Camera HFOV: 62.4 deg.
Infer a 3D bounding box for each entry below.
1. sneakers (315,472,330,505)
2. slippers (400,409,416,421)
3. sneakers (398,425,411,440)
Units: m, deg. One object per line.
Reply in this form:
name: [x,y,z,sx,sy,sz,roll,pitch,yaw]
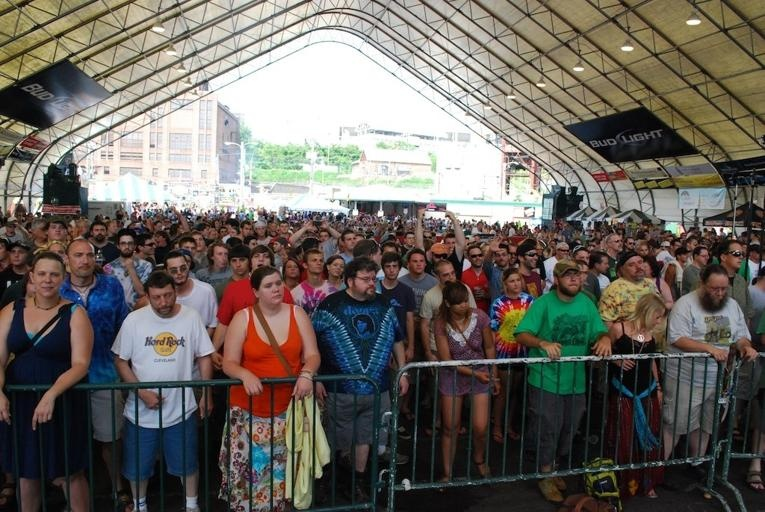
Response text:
sneakers: [-0.731,2.826,7.646,0.131,0.387,0.162,-1,-10,3]
slippers: [0.348,2.379,9.496,0.136,0.082,0.346,-9,3,-30]
sneakers: [0.300,2.502,8.981,0.109,0.104,0.266,0,-4,-21]
